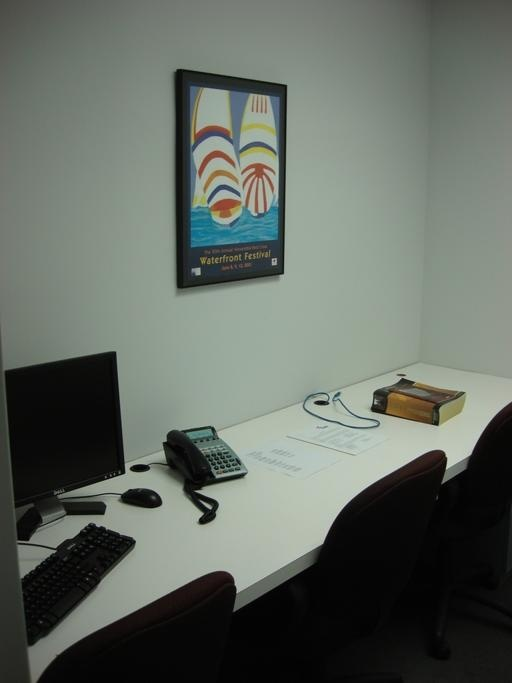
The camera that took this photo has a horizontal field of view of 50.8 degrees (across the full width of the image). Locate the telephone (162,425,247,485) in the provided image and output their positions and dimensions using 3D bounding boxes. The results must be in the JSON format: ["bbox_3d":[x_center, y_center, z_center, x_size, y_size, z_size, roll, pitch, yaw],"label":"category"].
[{"bbox_3d":[-0.156,0.342,1.629,0.222,0.107,0.276,2,9,-19],"label":"telephone"}]

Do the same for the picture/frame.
[{"bbox_3d":[-0.078,-0.551,1.866,0.061,0.712,0.501,7,11,44],"label":"picture/frame"}]

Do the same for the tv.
[{"bbox_3d":[-0.460,0.251,1.286,0.148,0.404,0.365,4,10,30],"label":"tv"}]
